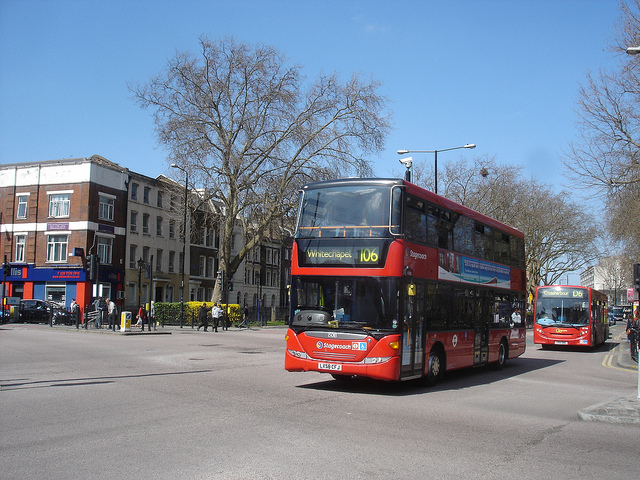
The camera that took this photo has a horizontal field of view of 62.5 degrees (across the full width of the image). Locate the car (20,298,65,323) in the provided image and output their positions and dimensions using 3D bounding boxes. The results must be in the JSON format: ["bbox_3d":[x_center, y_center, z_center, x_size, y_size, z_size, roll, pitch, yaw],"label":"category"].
[{"bbox_3d":[-21.396,5.508,40.342,5.283,1.819,1.244,-9,-14,39],"label":"car"}]

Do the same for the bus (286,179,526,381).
[{"bbox_3d":[2.877,1.658,16.965,3.402,5.042,10.004,-4,-10,37],"label":"bus"}]

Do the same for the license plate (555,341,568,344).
[{"bbox_3d":[13.137,5.624,28.646,0.625,0.164,0.299,-5,-13,26],"label":"license plate"}]
